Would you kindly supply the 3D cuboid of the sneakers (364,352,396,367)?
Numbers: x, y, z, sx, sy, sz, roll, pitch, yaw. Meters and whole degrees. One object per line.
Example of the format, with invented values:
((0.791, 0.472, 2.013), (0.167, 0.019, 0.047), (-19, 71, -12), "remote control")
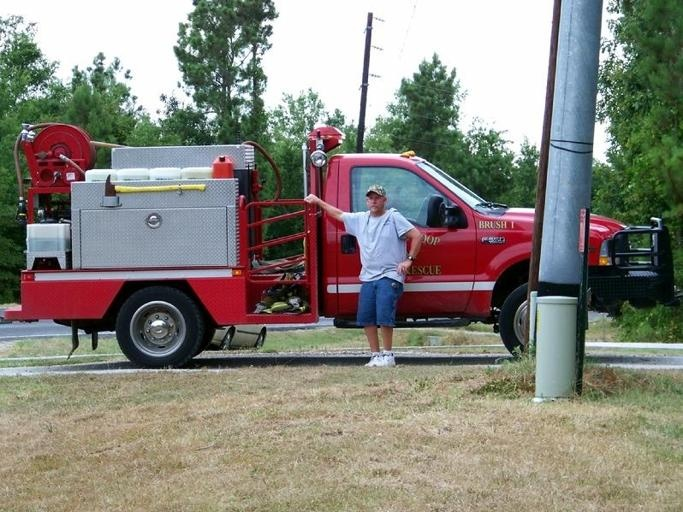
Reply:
((0.476, 1.258, 9.904), (0.325, 0.144, 0.178), (-4, 7, -13), "sneakers")

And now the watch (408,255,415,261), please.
((0.849, 0.029, 9.896), (0.058, 0.045, 0.066), (4, -4, 10), "watch")

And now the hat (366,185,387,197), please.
((0.424, -0.787, 9.965), (0.214, 0.143, 0.185), (-4, 7, -14), "hat")

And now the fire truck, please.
((0.795, -0.182, 12.037), (9.899, 4.297, 3.403), (-1, 2, 1), "fire truck")

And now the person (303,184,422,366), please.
((0.429, 0.228, 10.050), (1.166, 2.176, 0.739), (-1, 6, 10), "person")
